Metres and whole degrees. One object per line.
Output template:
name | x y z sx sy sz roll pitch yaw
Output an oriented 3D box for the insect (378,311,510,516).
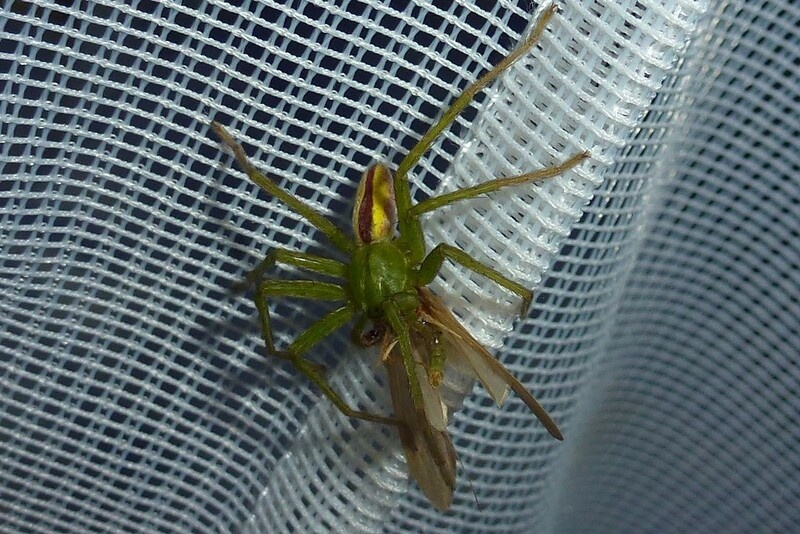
insect | 0.091 0.326 1.936 0.295 0.357 0.126 -4 21 19
